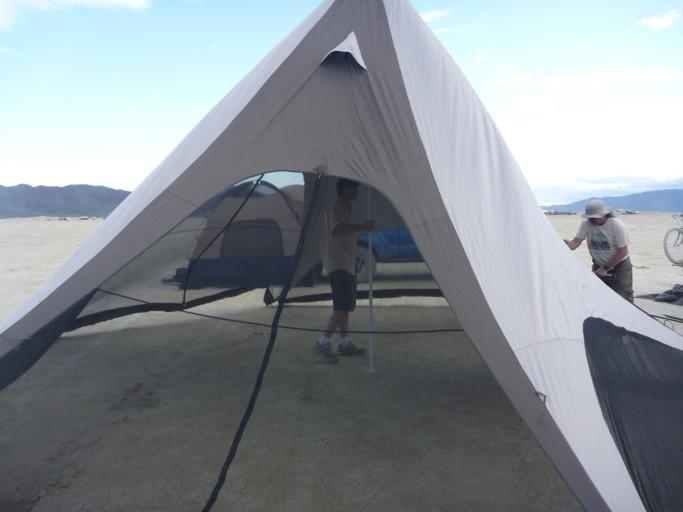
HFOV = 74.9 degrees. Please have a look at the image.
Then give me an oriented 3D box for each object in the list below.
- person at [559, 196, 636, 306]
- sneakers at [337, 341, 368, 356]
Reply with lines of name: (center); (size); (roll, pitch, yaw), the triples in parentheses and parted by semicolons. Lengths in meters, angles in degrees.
person: (2.813, 0.129, 5.004); (0.796, 1.404, 0.555); (1, 3, 31)
sneakers: (0.106, 0.986, 4.709); (0.329, 0.151, 0.125); (0, 2, -5)
